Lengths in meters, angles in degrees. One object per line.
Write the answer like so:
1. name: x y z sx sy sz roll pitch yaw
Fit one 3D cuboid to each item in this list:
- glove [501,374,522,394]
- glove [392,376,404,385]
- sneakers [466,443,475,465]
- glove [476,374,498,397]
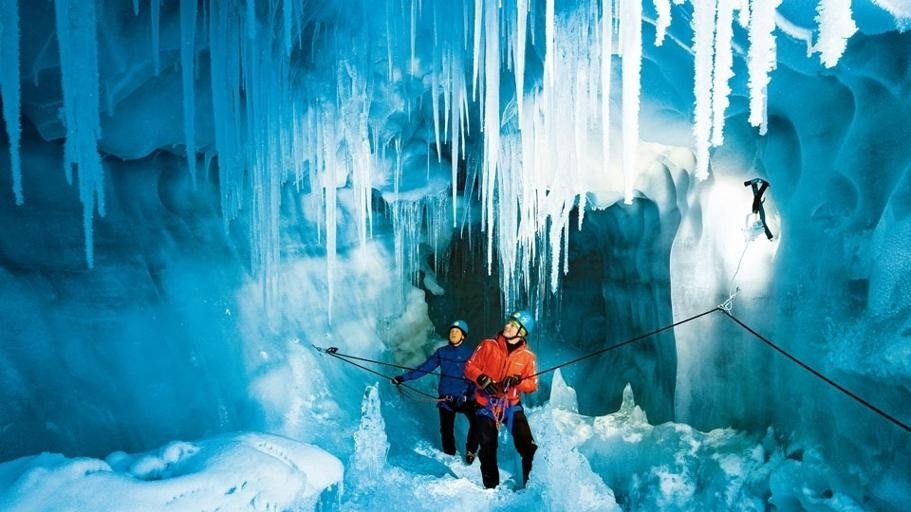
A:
1. glove: 0.756 1.701 11.247 0.187 0.116 0.282 37 -65 -27
2. glove: -0.825 1.773 11.918 0.108 0.140 0.060 -8 -81 -43
3. sneakers: 0.222 2.856 12.139 0.111 0.152 0.269 3 -81 -15
4. glove: 0.421 1.727 11.243 0.316 0.087 0.239 34 -88 -5
